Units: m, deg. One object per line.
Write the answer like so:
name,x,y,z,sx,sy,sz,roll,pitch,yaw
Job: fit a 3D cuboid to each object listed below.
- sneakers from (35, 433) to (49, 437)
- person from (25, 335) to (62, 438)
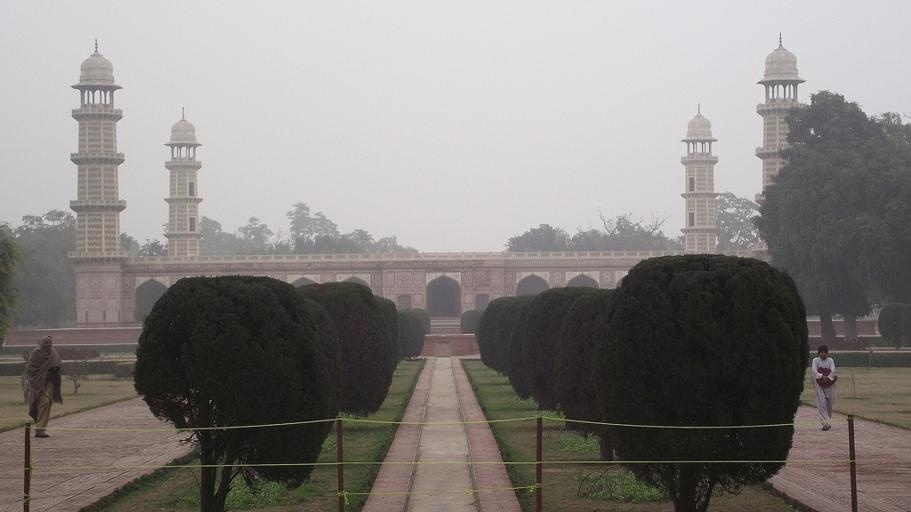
sneakers,-16.080,7.046,56.028,0.597,0.198,0.178,-1,-1,-1
person,-15.739,4.857,54.966,1.298,3.849,0.808,-2,0,-15
